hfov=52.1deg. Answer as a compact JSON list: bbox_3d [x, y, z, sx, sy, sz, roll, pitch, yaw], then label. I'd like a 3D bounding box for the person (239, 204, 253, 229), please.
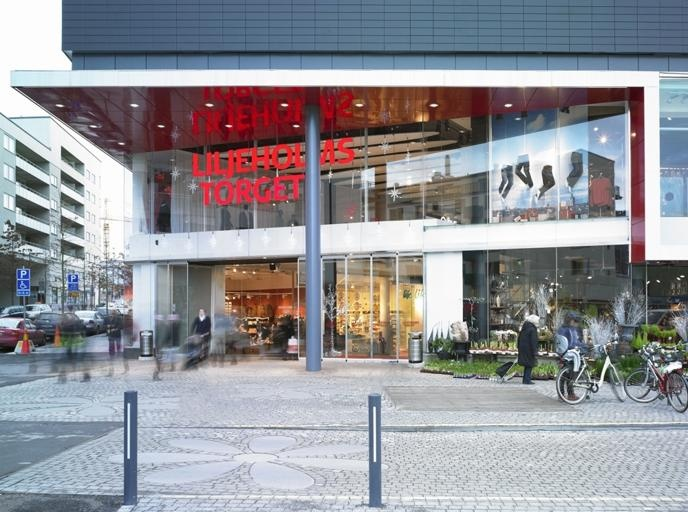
[{"bbox_3d":[-3.932,-1.588,28.048,0.591,0.937,0.198,1,4,10],"label":"person"}]

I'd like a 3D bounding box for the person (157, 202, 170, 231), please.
[{"bbox_3d":[-7.545,-1.634,29.594,0.707,1.241,0.388,2,5,26],"label":"person"}]

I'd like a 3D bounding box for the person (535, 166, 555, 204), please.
[{"bbox_3d":[7.533,-2.745,26.271,0.646,1.283,0.245,1,4,10],"label":"person"}]

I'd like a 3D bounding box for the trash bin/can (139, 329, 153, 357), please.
[{"bbox_3d":[-7.880,3.504,27.977,0.450,1.011,0.308,-1,4,-9],"label":"trash bin/can"}]

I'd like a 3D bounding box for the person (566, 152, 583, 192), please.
[{"bbox_3d":[8.512,-3.183,25.953,0.584,1.370,0.294,1,4,11],"label":"person"}]

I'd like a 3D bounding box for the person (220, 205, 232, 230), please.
[{"bbox_3d":[-4.747,-1.530,28.242,0.544,0.918,0.145,3,5,33],"label":"person"}]

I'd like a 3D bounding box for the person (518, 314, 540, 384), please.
[{"bbox_3d":[5.433,2.755,20.798,0.560,1.988,1.100,1,4,15],"label":"person"}]

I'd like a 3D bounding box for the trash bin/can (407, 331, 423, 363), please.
[{"bbox_3d":[2.533,3.298,25.064,0.452,1.087,0.366,0,4,0],"label":"trash bin/can"}]

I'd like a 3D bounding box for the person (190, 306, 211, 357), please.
[{"bbox_3d":[-4.944,2.733,24.288,0.579,1.751,1.018,-1,4,-13],"label":"person"}]
